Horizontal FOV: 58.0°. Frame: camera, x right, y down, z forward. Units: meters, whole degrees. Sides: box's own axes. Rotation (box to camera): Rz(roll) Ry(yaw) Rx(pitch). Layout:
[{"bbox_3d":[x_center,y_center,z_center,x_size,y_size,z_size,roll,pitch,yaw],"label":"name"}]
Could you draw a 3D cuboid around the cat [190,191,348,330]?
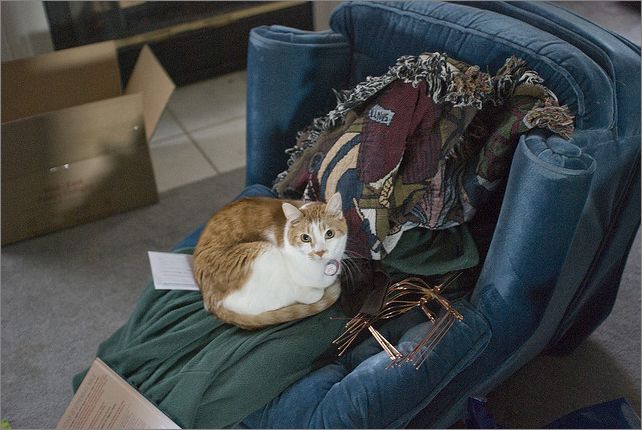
[{"bbox_3d":[-0.145,0.170,1.747,0.390,0.275,0.410,-11,54,-2],"label":"cat"}]
